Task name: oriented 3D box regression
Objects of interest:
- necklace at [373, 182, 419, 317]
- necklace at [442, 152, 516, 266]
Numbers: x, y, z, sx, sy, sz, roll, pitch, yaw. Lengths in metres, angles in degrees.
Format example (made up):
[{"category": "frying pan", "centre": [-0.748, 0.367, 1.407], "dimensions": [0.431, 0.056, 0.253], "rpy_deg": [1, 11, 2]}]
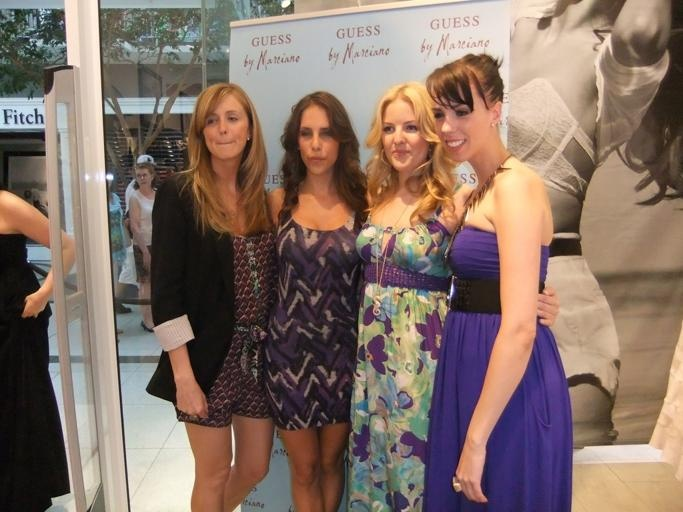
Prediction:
[{"category": "necklace", "centre": [0.263, -0.020, 3.160], "dimensions": [0.149, 0.718, 0.032], "rpy_deg": [7, 0, 37]}, {"category": "necklace", "centre": [0.651, -0.249, 2.819], "dimensions": [0.152, 0.799, 0.075], "rpy_deg": [31, -29, -20]}]
